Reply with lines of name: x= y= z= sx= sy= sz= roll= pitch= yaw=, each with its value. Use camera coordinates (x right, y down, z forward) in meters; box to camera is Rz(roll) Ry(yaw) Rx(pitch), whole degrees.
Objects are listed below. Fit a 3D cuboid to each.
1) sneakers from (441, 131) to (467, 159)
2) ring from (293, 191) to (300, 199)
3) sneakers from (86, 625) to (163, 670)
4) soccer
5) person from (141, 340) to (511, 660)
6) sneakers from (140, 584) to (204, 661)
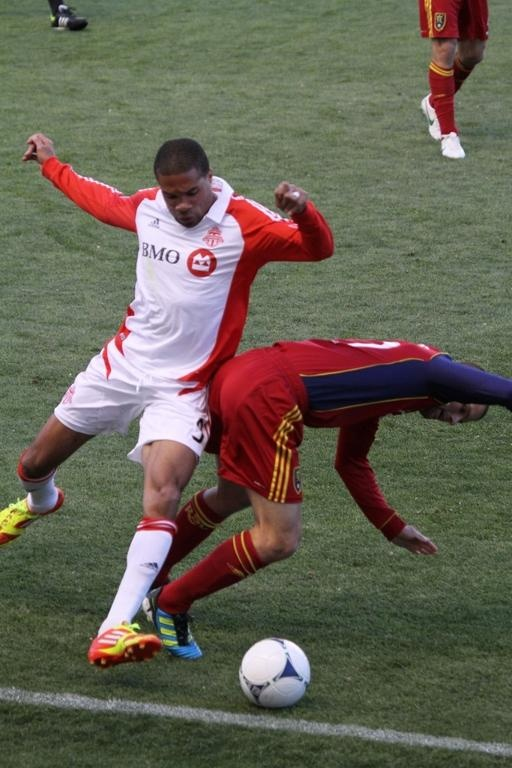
sneakers: x=1.450 y=-1.753 z=6.630 sx=0.127 sy=0.210 sz=0.099 roll=-21 pitch=-3 yaw=10
ring: x=0.111 y=-0.531 z=2.512 sx=0.024 sy=0.020 sz=0.007 roll=-8 pitch=-21 yaw=32
sneakers: x=-0.286 y=0.650 z=2.263 sx=0.233 sy=0.078 sz=0.116 roll=-11 pitch=32 yaw=26
soccer: x=0.052 y=0.803 z=2.506 sx=0.141 sy=0.140 sz=0.167 roll=16 pitch=30 yaw=41
person: x=0.202 y=0.396 z=2.845 sx=1.369 sy=1.028 sz=0.521 roll=7 pitch=27 yaw=-12
sneakers: x=-0.245 y=0.750 z=2.779 sx=0.129 sy=0.252 sz=0.095 roll=-44 pitch=-7 yaw=26
